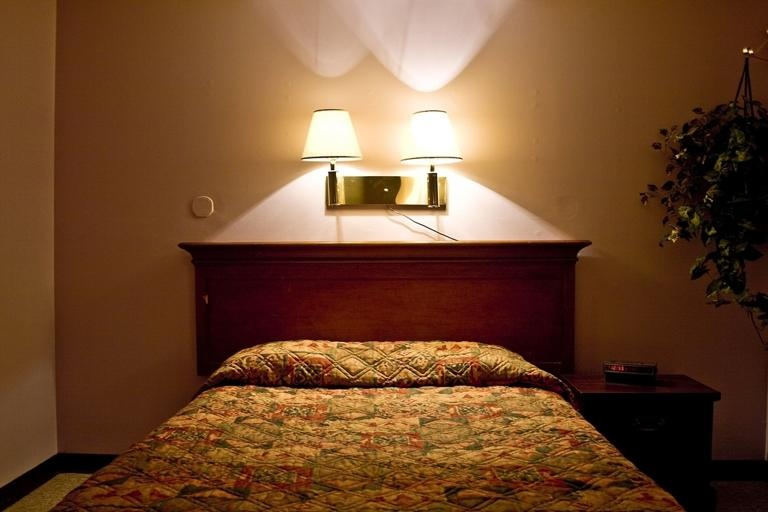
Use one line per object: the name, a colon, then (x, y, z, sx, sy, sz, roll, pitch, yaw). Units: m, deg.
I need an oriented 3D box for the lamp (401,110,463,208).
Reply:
lamp: (0.276, -0.544, 3.255, 0.334, 0.524, 0.334, 1, 9, 24)

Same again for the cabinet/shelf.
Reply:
cabinet/shelf: (1.355, 0.820, 3.032, 0.628, 0.614, 0.483, -1, 1, 1)

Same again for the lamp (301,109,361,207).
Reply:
lamp: (-0.291, -0.552, 3.256, 0.292, 0.474, 0.304, -2, 3, -26)
